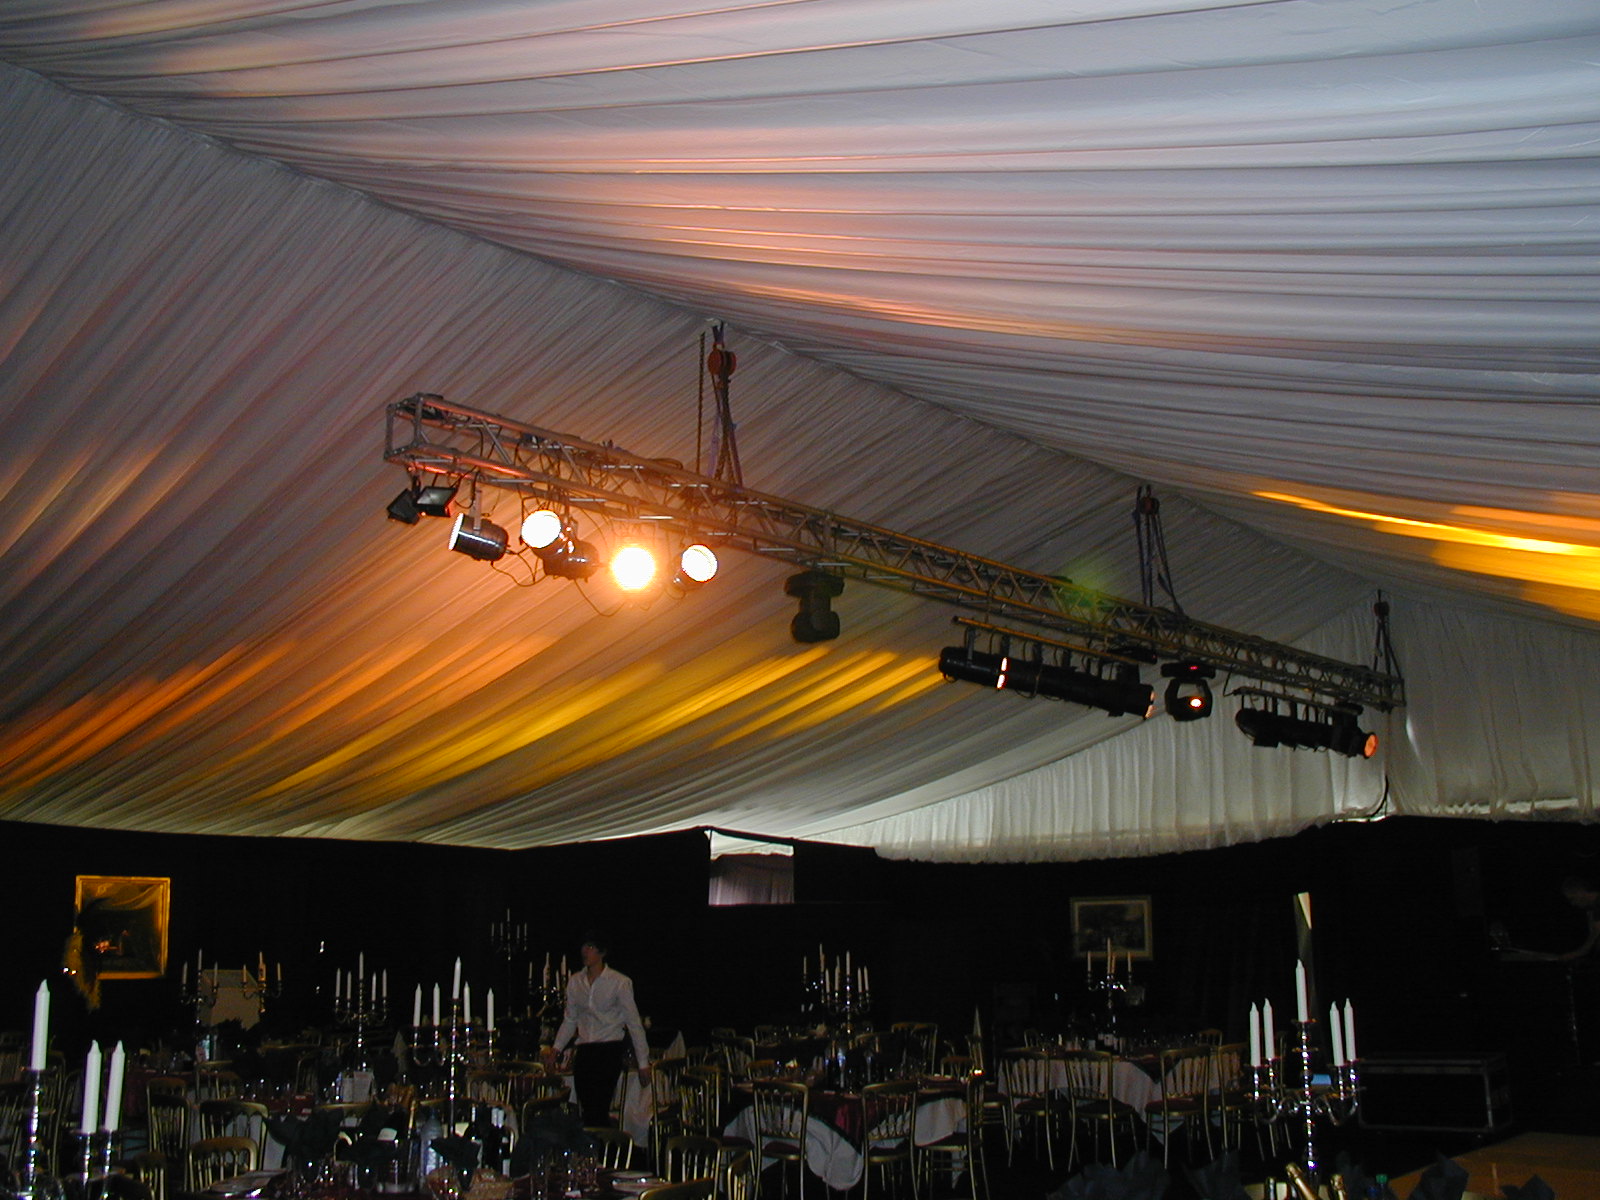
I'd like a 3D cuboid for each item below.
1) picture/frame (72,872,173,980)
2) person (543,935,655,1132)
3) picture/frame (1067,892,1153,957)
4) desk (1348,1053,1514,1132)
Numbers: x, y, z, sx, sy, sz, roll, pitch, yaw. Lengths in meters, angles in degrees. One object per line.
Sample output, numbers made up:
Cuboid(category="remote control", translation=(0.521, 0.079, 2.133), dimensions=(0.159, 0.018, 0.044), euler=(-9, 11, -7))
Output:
Cuboid(category="picture/frame", translation=(-5.622, 2.709, 14.356), dimensions=(0.089, 0.876, 0.965), euler=(-11, -16, 30))
Cuboid(category="person", translation=(-1.349, 2.879, 11.654), dimensions=(0.616, 1.259, 1.911), euler=(4, -19, -7))
Cuboid(category="picture/frame", translation=(2.912, 3.054, 16.367), dimensions=(0.726, 0.464, 0.056), euler=(-3, -12, 35))
Cuboid(category="desk", translation=(5.187, 4.028, 14.041), dimensions=(0.662, 0.603, 1.209), euler=(13, -20, -33))
